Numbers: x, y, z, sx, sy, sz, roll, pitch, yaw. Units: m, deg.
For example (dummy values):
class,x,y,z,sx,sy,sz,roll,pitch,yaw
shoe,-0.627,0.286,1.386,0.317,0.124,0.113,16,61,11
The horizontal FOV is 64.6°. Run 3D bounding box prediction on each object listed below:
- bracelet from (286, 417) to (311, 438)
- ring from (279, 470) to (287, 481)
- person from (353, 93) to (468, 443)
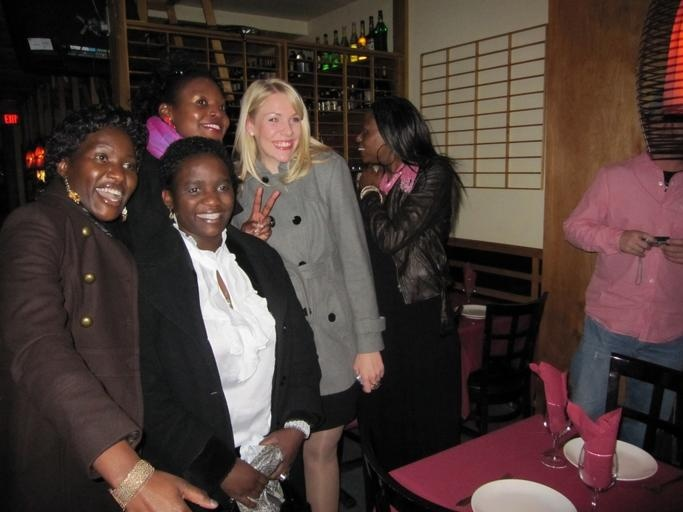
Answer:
class,x,y,z,sx,sy,sz,roll,pitch,yaw
bracelet,-0.157,0.617,1.977,0.069,0.030,0.076,2,1,9
ring,-0.211,0.795,1.956,0.028,0.038,0.036,-3,-26,-15
person,0.483,-0.249,3.679,0.934,2.370,1.002,1,4,14
